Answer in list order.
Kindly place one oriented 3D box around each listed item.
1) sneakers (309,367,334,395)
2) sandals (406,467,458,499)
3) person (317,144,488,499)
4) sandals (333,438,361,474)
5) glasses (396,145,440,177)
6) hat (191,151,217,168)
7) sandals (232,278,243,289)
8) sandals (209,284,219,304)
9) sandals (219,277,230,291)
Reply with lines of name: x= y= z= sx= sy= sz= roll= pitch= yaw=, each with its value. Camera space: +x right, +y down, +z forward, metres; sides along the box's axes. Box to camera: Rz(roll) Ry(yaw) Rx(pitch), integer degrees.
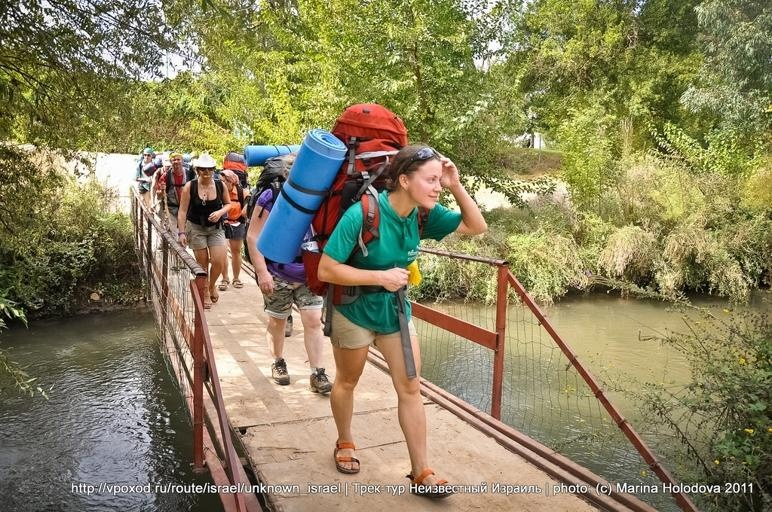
sneakers: x=-0.708 y=1.394 z=5.611 sx=0.174 sy=0.195 sz=0.378 roll=0 pitch=-4 yaw=-30
sandals: x=0.351 y=1.849 z=4.158 sx=0.422 sy=0.177 sz=0.173 roll=-8 pitch=-4 yaw=40
person: x=0.043 y=0.511 z=4.227 sx=1.086 sy=2.785 sz=0.840 roll=3 pitch=14 yaw=8
sandals: x=-0.330 y=1.750 z=4.404 sx=0.135 sy=0.126 sz=0.351 roll=1 pitch=-1 yaw=-10
glasses: x=0.237 y=-0.689 z=3.856 sx=0.263 sy=0.079 sz=0.231 roll=-26 pitch=-5 yaw=24
hat: x=-2.795 y=-1.436 z=7.949 sx=0.328 sy=0.160 sz=0.455 roll=-2 pitch=6 yaw=-18
sandals: x=-2.862 y=0.551 z=9.897 sx=0.200 sy=0.207 sz=0.539 roll=-1 pitch=-1 yaw=-21
sandals: x=-2.928 y=0.670 z=8.776 sx=0.104 sy=0.283 sz=0.119 roll=-1 pitch=7 yaw=-18
sandals: x=-3.042 y=0.557 z=9.708 sx=0.228 sy=0.230 sz=0.632 roll=0 pitch=-4 yaw=-6
